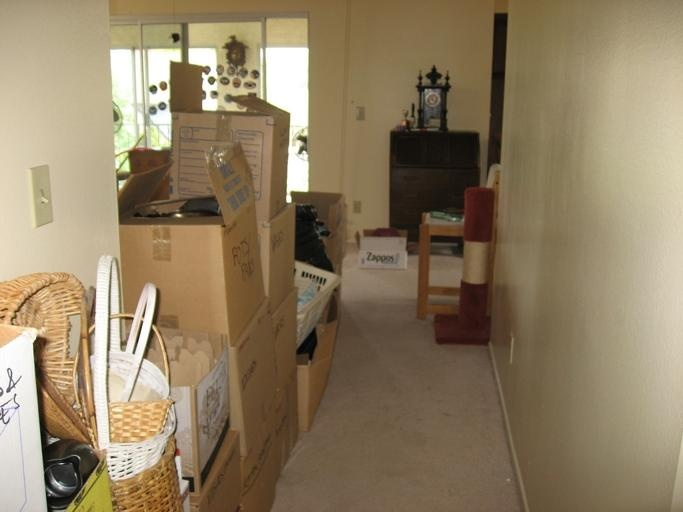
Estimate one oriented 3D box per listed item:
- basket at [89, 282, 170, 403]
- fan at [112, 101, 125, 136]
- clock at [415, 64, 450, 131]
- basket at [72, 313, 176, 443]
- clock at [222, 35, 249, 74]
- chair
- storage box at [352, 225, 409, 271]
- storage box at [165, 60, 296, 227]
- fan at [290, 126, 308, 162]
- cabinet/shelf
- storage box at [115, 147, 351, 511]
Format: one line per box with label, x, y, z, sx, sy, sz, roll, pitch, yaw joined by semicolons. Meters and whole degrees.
basket;-0.484;0.208;1.287;0.131;0.240;0.183;13;-24;-10
fan;-2.329;-1.461;5.886;0.090;0.342;0.890;-4;13;-20
clock;0.984;-1.675;5.967;0.370;0.663;0.296;2;12;9
basket;-0.454;0.322;1.297;0.133;0.217;0.156;-3;-32;-8
clock;-1.136;-2.169;6.085;0.276;0.432;0.036;1;46;-2
chair;0.848;-0.134;4.108;0.548;1.096;1.546;2;12;8
storage box;0.427;-0.088;5.480;0.441;0.326;0.497;2;12;8
storage box;-0.478;-0.492;2.438;0.436;0.643;0.457;3;7;4
fan;-0.458;-1.270;6.311;0.213;0.328;0.278;-5;-15;7
cabinet/shelf;1.071;-0.645;6.217;1.004;1.503;0.754;1;11;12
storage box;-0.513;0.242;2.775;0.933;2.093;1.417;2;9;6
